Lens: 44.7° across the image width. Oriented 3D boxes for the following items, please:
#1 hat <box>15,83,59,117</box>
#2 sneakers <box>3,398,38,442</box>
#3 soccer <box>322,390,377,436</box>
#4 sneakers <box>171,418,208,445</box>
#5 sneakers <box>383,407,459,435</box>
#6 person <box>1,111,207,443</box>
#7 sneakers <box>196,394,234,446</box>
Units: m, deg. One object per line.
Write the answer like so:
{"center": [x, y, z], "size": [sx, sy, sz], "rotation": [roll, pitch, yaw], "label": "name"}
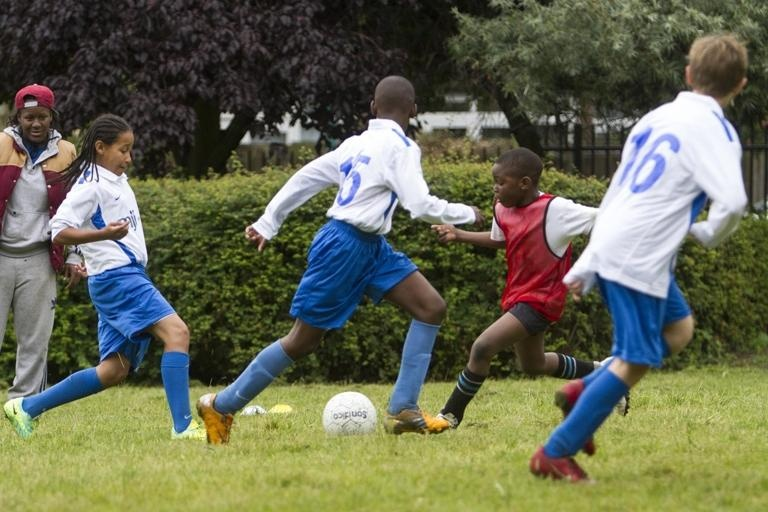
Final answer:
{"center": [-3.201, -1.456, 8.671], "size": [0.255, 0.213, 0.361], "rotation": [0, 11, 1], "label": "hat"}
{"center": [-3.065, 1.362, 7.888], "size": [0.192, 0.432, 0.155], "rotation": [-24, 4, 14], "label": "sneakers"}
{"center": [-0.288, 1.327, 7.811], "size": [0.360, 0.360, 0.349], "rotation": [-37, -5, -1], "label": "soccer"}
{"center": [-1.642, 1.468, 7.702], "size": [0.369, 0.166, 0.138], "rotation": [0, 1, -5], "label": "sneakers"}
{"center": [0.275, 1.359, 7.744], "size": [0.548, 0.253, 0.199], "rotation": [-1, -6, -5], "label": "sneakers"}
{"center": [-2.268, 0.165, 7.779], "size": [1.549, 2.664, 0.743], "rotation": [-1, 8, -1], "label": "person"}
{"center": [-1.355, 1.335, 7.526], "size": [0.230, 0.517, 0.176], "rotation": [-7, 3, 8], "label": "sneakers"}
